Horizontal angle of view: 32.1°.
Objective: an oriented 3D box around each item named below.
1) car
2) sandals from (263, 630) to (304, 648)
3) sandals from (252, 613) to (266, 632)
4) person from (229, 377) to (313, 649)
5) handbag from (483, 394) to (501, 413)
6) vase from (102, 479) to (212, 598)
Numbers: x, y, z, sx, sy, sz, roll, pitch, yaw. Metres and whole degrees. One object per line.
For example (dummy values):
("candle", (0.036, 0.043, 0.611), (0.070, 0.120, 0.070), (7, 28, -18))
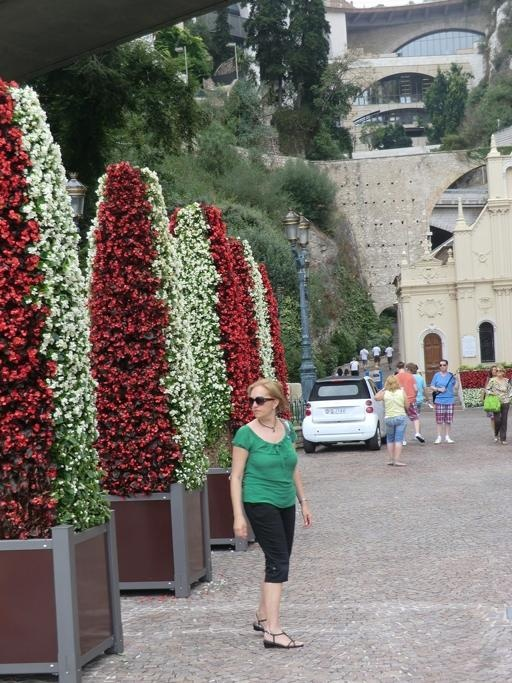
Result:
("car", (1.625, 1.370, 16.953), (1.201, 0.869, 1.805), (-1, 3, 14))
("sandals", (0.142, 1.668, 5.006), (0.236, 0.093, 0.087), (-1, -1, 11))
("sandals", (0.015, 1.663, 5.253), (0.053, 0.049, 0.136), (1, 9, 0))
("person", (0.061, 0.973, 5.152), (0.384, 1.500, 0.434), (-7, -1, 5))
("handbag", (4.314, 1.121, 16.074), (0.299, 0.347, 0.357), (-6, 0, 14))
("vase", (-0.782, 1.502, 7.061), (0.863, 1.055, 0.852), (-2, -1, 16))
